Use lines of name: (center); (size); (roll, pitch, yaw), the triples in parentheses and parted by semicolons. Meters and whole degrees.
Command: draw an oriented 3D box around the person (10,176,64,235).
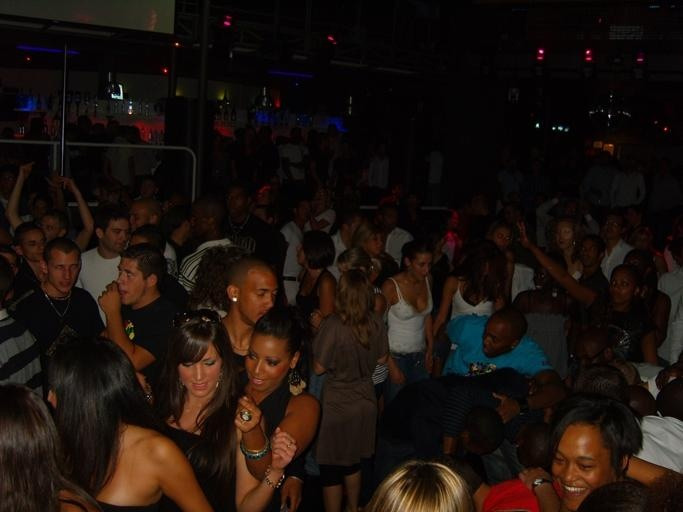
person: (-3.300, -0.578, 5.857); (0.562, 0.763, 0.397); (0, 7, -20)

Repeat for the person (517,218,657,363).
person: (2.354, 0.359, 5.302); (0.407, 1.440, 1.309); (-39, 25, -17)

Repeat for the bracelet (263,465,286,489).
bracelet: (-0.324, 1.063, 2.665); (0.092, 0.117, 0.046); (7, 3, -3)

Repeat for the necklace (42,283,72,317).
necklace: (-2.116, 0.326, 4.207); (0.206, 0.179, 0.167); (21, 31, 24)

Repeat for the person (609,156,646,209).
person: (5.212, -1.324, 10.034); (0.545, 0.905, 0.506); (8, 10, 22)

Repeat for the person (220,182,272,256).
person: (-1.103, -0.449, 6.117); (0.847, 0.677, 0.388); (10, 18, 27)

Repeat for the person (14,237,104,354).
person: (-2.111, 0.301, 4.064); (0.392, 0.730, 0.784); (11, 11, 35)

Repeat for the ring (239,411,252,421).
ring: (-0.439, 0.734, 2.538); (0.053, 0.047, 0.015); (3, 9, -6)

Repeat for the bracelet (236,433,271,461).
bracelet: (-0.417, 0.917, 2.651); (0.145, 0.111, 0.091); (3, 9, -5)

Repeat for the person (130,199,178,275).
person: (-1.684, -0.168, 4.950); (0.389, 0.703, 0.793); (1, 0, -5)

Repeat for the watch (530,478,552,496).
watch: (1.009, 1.159, 2.783); (0.067, 0.035, 0.077); (-1, -2, 6)
